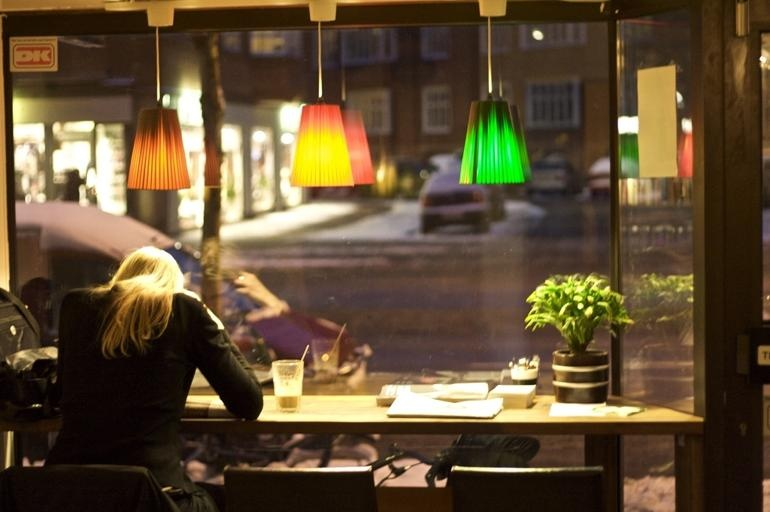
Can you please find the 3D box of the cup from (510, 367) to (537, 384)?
[{"bbox_3d":[0.657,0.559,4.908,0.083,0.068,0.087,0,-4,0],"label":"cup"}]

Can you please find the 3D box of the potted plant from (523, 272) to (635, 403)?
[{"bbox_3d":[0.829,0.393,5.033,0.534,0.691,0.547,-1,-6,5],"label":"potted plant"}]

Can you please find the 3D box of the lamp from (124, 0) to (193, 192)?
[{"bbox_3d":[-1.044,-0.741,4.882,0.267,0.851,0.402,-1,2,-1],"label":"lamp"}]
